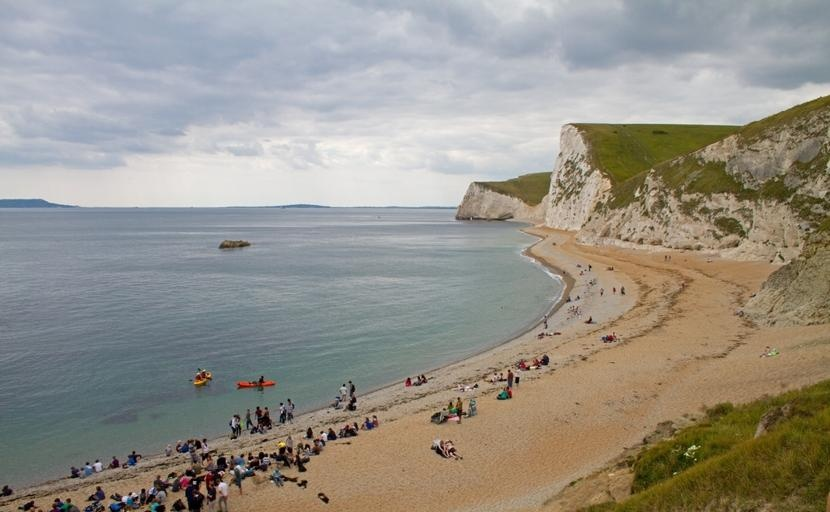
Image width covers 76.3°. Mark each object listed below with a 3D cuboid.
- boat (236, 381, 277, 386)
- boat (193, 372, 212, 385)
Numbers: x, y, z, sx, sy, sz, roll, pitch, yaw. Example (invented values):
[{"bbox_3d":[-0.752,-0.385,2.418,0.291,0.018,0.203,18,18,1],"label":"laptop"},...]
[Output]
[{"bbox_3d":[-16.123,12.835,52.953,2.610,0.396,1.261,0,-3,-4],"label":"boat"},{"bbox_3d":[-21.615,12.390,53.683,1.410,0.475,1.475,2,6,2],"label":"boat"}]
